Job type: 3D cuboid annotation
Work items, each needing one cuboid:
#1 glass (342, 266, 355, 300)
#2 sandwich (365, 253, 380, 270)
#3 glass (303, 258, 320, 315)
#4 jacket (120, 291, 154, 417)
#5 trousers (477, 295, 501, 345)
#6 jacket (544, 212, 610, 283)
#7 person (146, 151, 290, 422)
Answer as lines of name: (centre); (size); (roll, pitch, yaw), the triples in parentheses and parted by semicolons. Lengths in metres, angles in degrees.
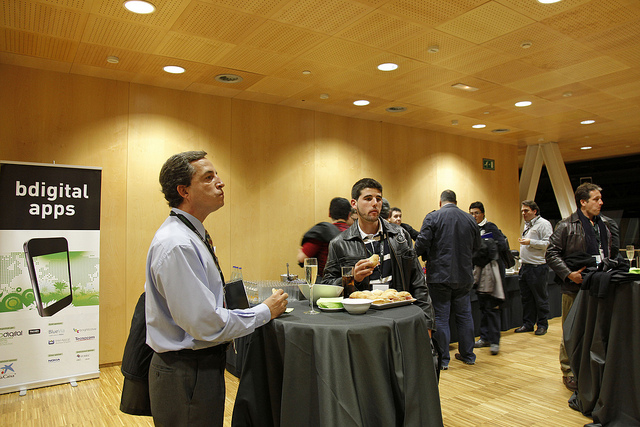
glass: (0.199, 0.503, 3.029); (0.101, 0.235, 0.104); (-4, -3, 1)
sandwich: (0.396, 0.361, 3.077); (0.064, 0.104, 0.132); (0, 3, 16)
glass: (-0.072, 0.513, 2.953); (0.123, 0.383, 0.128); (-3, -4, 24)
jacket: (-1.225, 0.941, 2.803); (0.197, 0.827, 0.263); (6, 5, -29)
trousers: (2.361, 1.496, 5.815); (0.276, 0.674, 0.321); (0, 3, 25)
jacket: (2.943, 0.386, 4.645); (0.863, 0.830, 0.449); (0, -1, -11)
person: (-0.725, 0.466, 2.675); (0.759, 1.738, 0.440); (-2, 3, -20)
